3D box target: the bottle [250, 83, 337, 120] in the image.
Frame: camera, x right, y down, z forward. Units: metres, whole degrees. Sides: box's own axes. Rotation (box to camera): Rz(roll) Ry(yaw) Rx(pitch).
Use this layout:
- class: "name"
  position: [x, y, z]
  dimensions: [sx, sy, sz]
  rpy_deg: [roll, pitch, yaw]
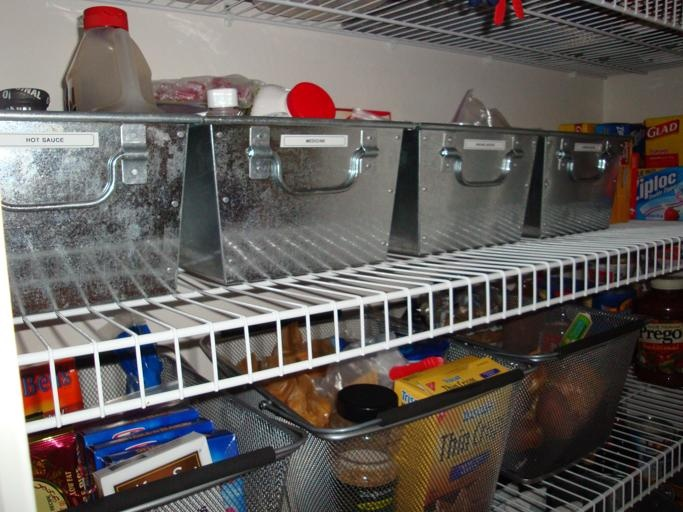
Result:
- class: "bottle"
  position: [-0.079, -0.266, 0.840]
  dimensions: [0.124, 0.063, 0.178]
  rpy_deg: [-8, 16, -23]

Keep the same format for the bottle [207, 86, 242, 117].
- class: "bottle"
  position: [-0.182, -0.239, 0.757]
  dimensions: [0.048, 0.049, 0.124]
  rpy_deg: [-5, 15, -14]

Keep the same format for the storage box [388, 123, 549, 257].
- class: "storage box"
  position: [0.217, -0.149, 1.069]
  dimensions: [0.392, 0.249, 0.251]
  rpy_deg: [-11, 24, -31]
